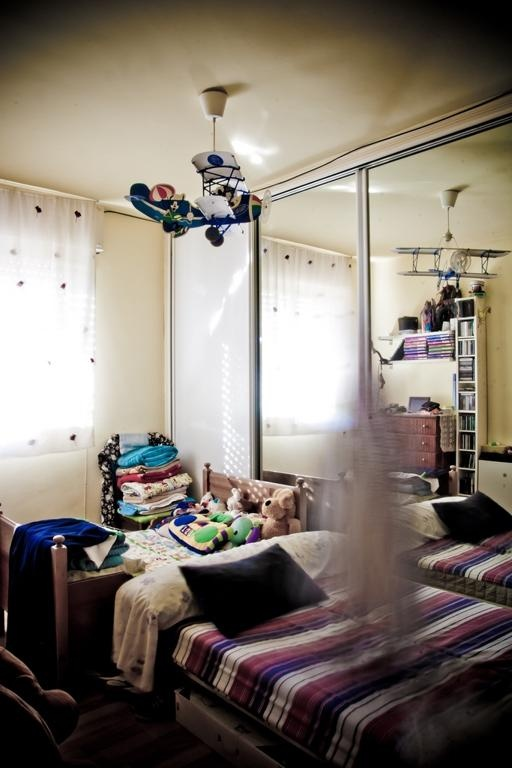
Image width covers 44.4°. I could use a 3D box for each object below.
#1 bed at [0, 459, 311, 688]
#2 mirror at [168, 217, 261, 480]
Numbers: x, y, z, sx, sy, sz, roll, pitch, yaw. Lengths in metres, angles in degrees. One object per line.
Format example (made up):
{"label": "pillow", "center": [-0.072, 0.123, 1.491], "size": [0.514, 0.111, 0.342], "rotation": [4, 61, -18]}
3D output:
{"label": "bed", "center": [-0.305, 0.529, 2.129], "size": [0.815, 0.494, 0.620], "rotation": [-10, 13, -36]}
{"label": "mirror", "center": [-0.247, -0.155, 3.410], "size": [0.087, 1.410, 0.876], "rotation": [-2, 3, -33]}
